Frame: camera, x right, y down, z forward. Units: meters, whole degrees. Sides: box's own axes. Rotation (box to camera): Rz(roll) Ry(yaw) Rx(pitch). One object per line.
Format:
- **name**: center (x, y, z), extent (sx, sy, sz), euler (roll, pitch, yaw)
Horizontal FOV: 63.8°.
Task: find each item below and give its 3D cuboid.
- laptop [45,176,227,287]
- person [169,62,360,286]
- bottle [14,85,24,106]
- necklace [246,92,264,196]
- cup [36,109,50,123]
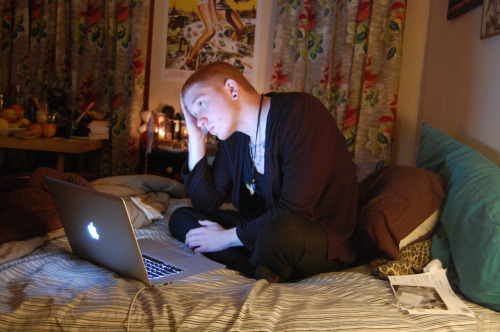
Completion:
- **laptop**: center (-0.502, 0.160, 1.878), extent (0.614, 0.393, 0.570), euler (18, 13, 39)
- **person**: center (0.079, 0.017, 2.367), extent (0.916, 1.257, 1.239), euler (-1, -1, -39)
- **bottle**: center (-2.259, -0.708, 3.943), extent (0.129, 0.196, 0.057), euler (11, 13, 38)
- **necklace**: center (0.053, -0.128, 2.228), extent (0.103, 0.539, 0.024), euler (3, 4, -32)
- **cup**: center (-1.880, -0.456, 3.648), extent (0.111, 0.096, 0.113), euler (0, 3, 0)
